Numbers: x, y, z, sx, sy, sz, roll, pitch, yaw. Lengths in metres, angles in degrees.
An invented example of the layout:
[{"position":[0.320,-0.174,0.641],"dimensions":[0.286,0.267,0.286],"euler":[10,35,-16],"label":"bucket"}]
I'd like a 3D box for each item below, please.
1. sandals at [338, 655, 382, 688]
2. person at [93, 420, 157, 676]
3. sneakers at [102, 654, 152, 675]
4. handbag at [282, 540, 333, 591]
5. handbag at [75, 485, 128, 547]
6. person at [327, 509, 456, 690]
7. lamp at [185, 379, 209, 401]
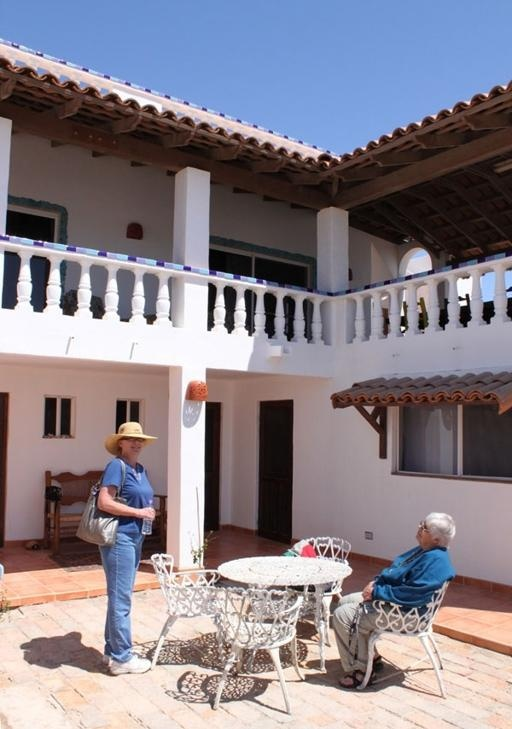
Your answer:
[{"position":[0.748,2.094,4.347],"dimensions":[0.379,0.143,0.127],"euler":[12,-15,-34],"label":"sandals"},{"position":[-0.908,1.260,4.412],"dimensions":[0.401,1.718,0.508],"euler":[2,-5,-9],"label":"person"},{"position":[-0.898,2.072,4.436],"dimensions":[0.311,0.125,0.130],"euler":[2,-4,-30],"label":"sneakers"},{"position":[0.378,1.860,5.807],"dimensions":[0.493,0.558,0.174],"euler":[6,2,-4],"label":"handbag"},{"position":[-1.082,1.027,4.317],"dimensions":[0.208,0.411,0.320],"euler":[5,-7,-39],"label":"handbag"},{"position":[0.920,1.585,4.315],"dimensions":[0.730,1.160,0.506],"euler":[3,-1,16],"label":"person"},{"position":[-0.650,0.304,7.481],"dimensions":[0.207,0.250,0.455],"euler":[-1,-5,16],"label":"lamp"}]
